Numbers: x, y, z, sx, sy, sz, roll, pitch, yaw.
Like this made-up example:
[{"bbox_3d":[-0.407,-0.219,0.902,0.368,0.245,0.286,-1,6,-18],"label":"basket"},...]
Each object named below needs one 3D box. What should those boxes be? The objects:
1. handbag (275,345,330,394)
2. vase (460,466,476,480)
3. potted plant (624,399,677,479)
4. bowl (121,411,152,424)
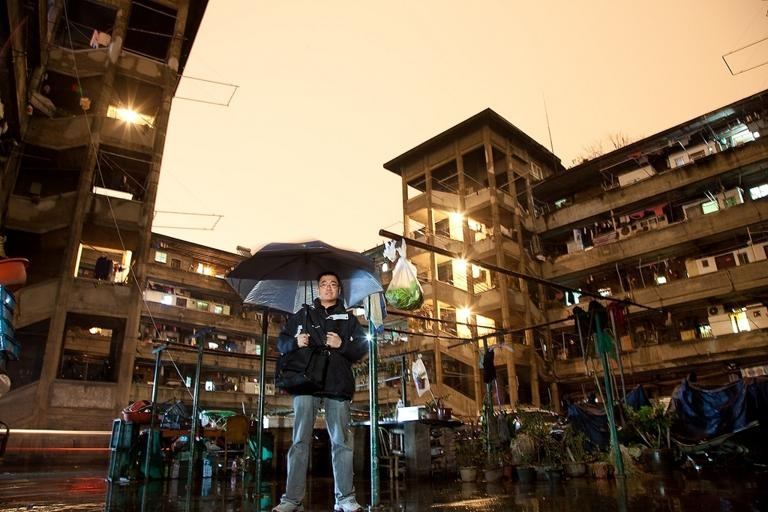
[{"bbox_3d":[-1.301,1.882,8.194,0.725,0.680,0.387,-2,-27,9],"label":"handbag"},{"bbox_3d":[2.156,5.537,12.670,0.341,0.222,0.335,9,-20,-20],"label":"vase"},{"bbox_3d":[6.783,4.637,12.560,1.001,1.586,1.073,-13,-27,25],"label":"potted plant"},{"bbox_3d":[-6.673,4.368,13.454,0.657,0.319,0.836,11,-27,-24],"label":"bowl"}]
